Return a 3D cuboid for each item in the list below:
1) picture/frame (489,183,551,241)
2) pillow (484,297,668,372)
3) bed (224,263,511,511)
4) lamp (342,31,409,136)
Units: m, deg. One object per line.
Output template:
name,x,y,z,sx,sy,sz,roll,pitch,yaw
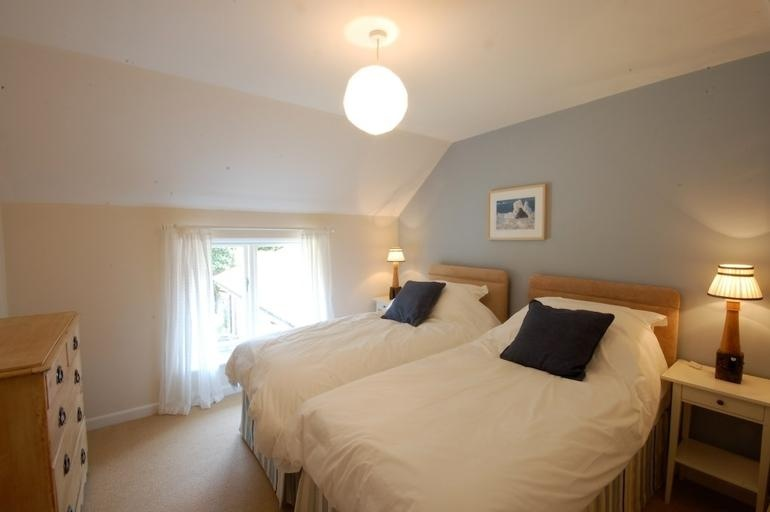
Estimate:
picture/frame,1.359,-0.436,5.377,0.065,0.513,0.584,1,-2,-42
pillow,1.368,0.640,4.502,0.863,0.180,0.894,-11,28,24
bed,-0.089,1.005,5.120,2.456,1.391,1.671,-2,2,-31
lamp,-0.074,-1.181,4.001,0.449,0.501,0.192,0,3,-5
